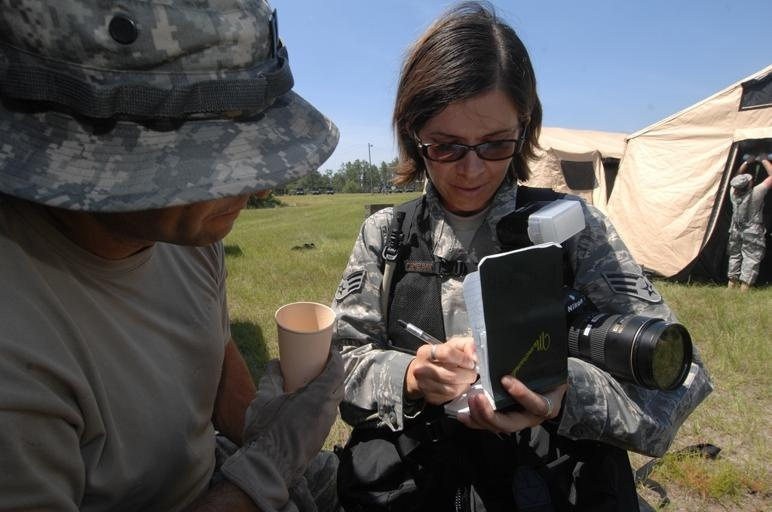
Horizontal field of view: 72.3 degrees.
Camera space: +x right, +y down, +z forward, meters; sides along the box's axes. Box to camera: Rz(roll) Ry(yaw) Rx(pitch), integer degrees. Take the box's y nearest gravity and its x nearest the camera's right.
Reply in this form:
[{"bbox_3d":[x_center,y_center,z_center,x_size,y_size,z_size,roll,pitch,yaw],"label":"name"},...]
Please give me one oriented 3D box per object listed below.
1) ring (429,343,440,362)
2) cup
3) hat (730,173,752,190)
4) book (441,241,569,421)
[{"bbox_3d":[0.233,0.479,2.593,0.027,0.076,0.056,7,-12,-4],"label":"ring"},{"bbox_3d":[-0.382,0.456,2.588,0.295,0.441,0.294,5,36,-3],"label":"cup"},{"bbox_3d":[6.135,-1.273,9.167,0.310,0.261,0.361,-2,9,31],"label":"hat"},{"bbox_3d":[0.606,0.310,2.749,0.711,0.928,0.662,-8,6,-27],"label":"book"}]
